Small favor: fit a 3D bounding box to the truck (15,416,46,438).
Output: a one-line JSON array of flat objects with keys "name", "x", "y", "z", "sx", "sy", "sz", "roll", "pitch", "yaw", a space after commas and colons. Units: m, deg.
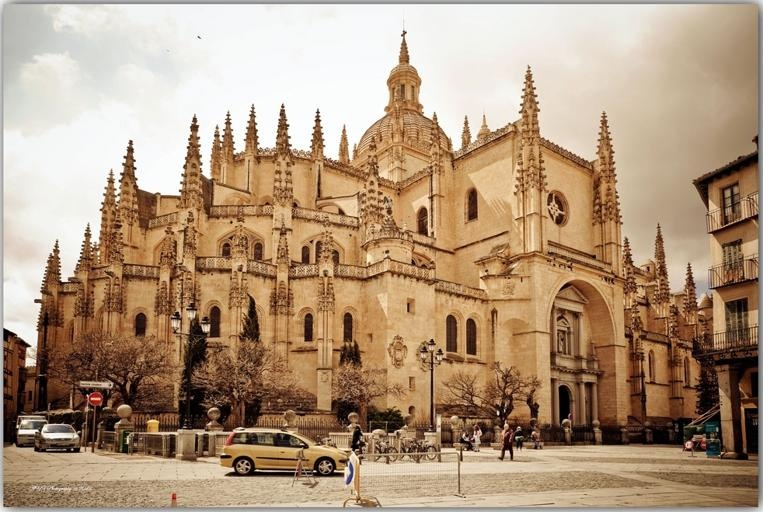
[{"name": "truck", "x": -21.482, "y": 10.374, "z": 54.336, "sx": 1.296, "sy": 1.127, "sz": 2.163, "roll": 4, "pitch": -19, "yaw": -27}]
